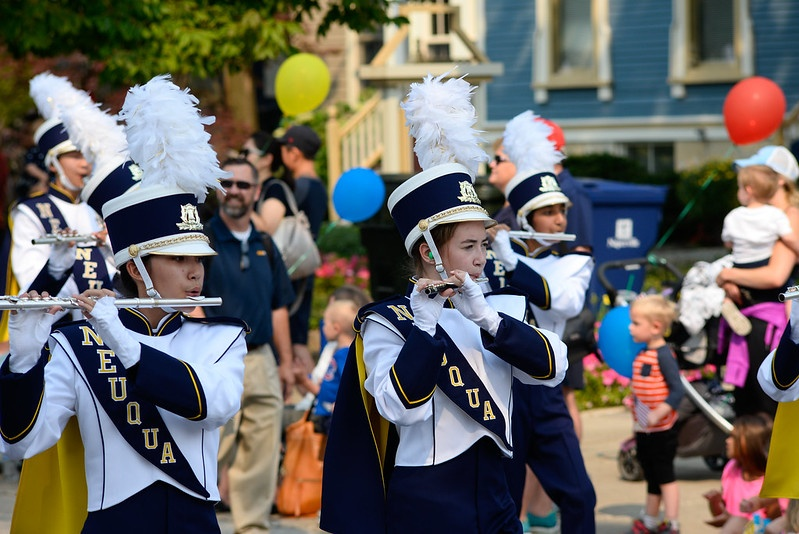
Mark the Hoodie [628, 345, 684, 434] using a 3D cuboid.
[{"bbox_3d":[1.810,0.866,11.241,0.382,0.617,0.219,-1,9,19],"label":"Hoodie"}]

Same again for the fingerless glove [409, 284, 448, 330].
[{"bbox_3d":[0.161,0.237,9.239,0.204,0.318,0.156,-5,8,-8],"label":"fingerless glove"}]

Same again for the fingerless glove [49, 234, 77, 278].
[{"bbox_3d":[-2.274,-0.085,10.720,0.227,0.285,0.121,-4,16,-42],"label":"fingerless glove"}]

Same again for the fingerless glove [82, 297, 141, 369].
[{"bbox_3d":[-1.606,0.366,8.974,0.156,0.419,0.265,-36,16,18],"label":"fingerless glove"}]

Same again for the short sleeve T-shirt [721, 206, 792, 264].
[{"bbox_3d":[2.534,-0.251,11.322,0.499,0.434,0.398,-4,15,24],"label":"short sleeve T-shirt"}]

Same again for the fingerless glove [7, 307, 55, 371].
[{"bbox_3d":[-2.098,0.416,9.002,0.279,0.344,0.175,-5,8,-12],"label":"fingerless glove"}]

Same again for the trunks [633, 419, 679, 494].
[{"bbox_3d":[1.813,1.382,11.219,0.281,0.455,0.272,-3,8,8],"label":"trunks"}]

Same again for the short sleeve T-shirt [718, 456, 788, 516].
[{"bbox_3d":[2.413,1.543,10.986,0.376,0.590,0.474,-3,8,-1],"label":"short sleeve T-shirt"}]
